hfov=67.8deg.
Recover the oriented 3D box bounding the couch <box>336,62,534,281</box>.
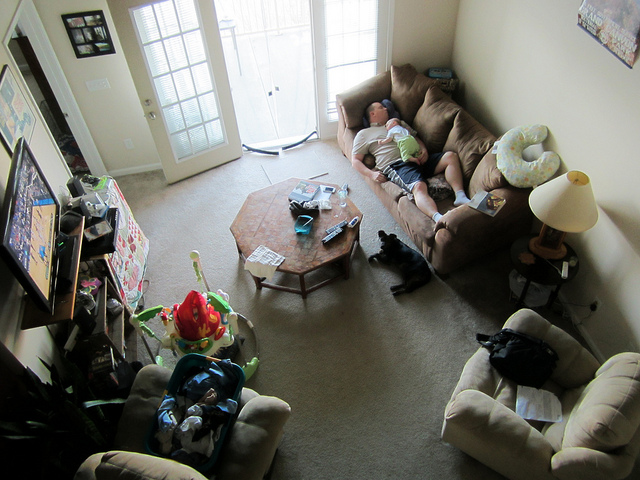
[{"bbox_3d":[1.113,-0.894,5.143,1.127,1.039,2.672,-14,44,-12],"label":"couch"}]

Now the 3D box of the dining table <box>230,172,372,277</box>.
[{"bbox_3d":[-0.224,-0.126,4.571,1.182,0.371,1.153,-19,42,-16],"label":"dining table"}]

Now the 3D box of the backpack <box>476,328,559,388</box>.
[{"bbox_3d":[1.556,0.868,3.661,0.652,0.569,0.245,26,82,6],"label":"backpack"}]

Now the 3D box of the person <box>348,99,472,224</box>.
[{"bbox_3d":[0.889,-0.796,4.988,0.688,0.572,1.469,-29,52,-5],"label":"person"}]

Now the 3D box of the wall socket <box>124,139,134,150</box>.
[{"bbox_3d":[-2.208,-1.110,5.516,0.096,0.126,0.014,-21,47,-12],"label":"wall socket"}]

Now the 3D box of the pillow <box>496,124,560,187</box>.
[{"bbox_3d":[1.853,-0.739,4.289,0.482,0.173,0.659,-20,57,22],"label":"pillow"}]

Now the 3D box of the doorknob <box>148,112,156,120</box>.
[{"bbox_3d":[-1.780,-1.314,5.064,0.048,0.061,0.021,-17,31,-11],"label":"doorknob"}]

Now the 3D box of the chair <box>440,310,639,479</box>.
[{"bbox_3d":[1.554,1.148,3.314,1.134,0.686,1.070,25,48,32],"label":"chair"}]

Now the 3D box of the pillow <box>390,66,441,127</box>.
[{"bbox_3d":[1.005,-1.644,5.481,0.460,0.646,0.551,-28,45,-35],"label":"pillow"}]

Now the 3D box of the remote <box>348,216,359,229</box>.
[{"bbox_3d":[0.318,-0.165,4.477,0.059,0.026,0.114,21,64,35],"label":"remote"}]

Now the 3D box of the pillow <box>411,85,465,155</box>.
[{"bbox_3d":[1.216,-1.284,5.190,0.460,0.695,0.576,-7,35,-21],"label":"pillow"}]

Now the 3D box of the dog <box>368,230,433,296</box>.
[{"bbox_3d":[0.763,0.182,4.530,0.454,0.333,0.564,-21,42,-18],"label":"dog"}]

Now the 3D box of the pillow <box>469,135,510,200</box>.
[{"bbox_3d":[1.543,-0.658,4.444,0.139,0.465,0.514,17,47,-22],"label":"pillow"}]

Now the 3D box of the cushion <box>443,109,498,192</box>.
[{"bbox_3d":[1.484,-0.906,4.873,0.397,0.694,0.642,1,33,-3],"label":"cushion"}]

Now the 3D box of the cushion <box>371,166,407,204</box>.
[{"bbox_3d":[0.756,-0.567,4.823,0.171,0.065,0.303,-33,52,-7],"label":"cushion"}]

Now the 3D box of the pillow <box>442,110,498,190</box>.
[{"bbox_3d":[1.475,-0.888,4.875,0.189,0.664,0.681,7,36,-29],"label":"pillow"}]
